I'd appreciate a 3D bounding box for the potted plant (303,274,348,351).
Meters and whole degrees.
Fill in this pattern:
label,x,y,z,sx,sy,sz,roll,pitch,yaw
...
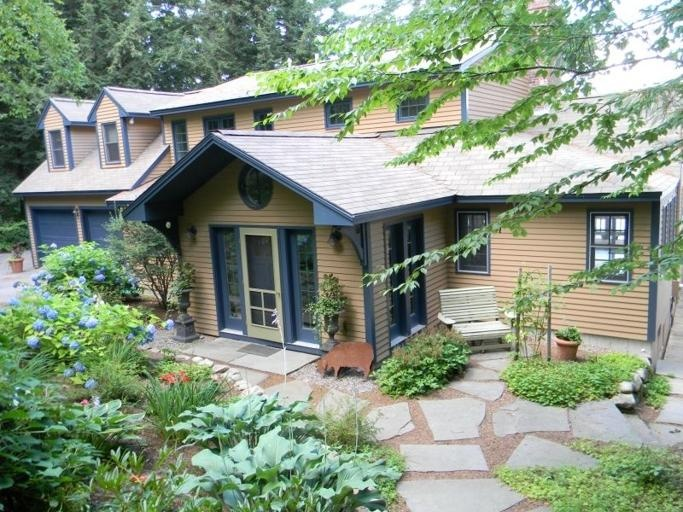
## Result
label,x,y,z,sx,sy,sz,roll,pitch,yaw
potted plant,-0.300,1.056,10.739,0.550,1.458,0.930,-3,4,-34

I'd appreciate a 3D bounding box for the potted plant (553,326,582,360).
label,x,y,z,sx,sy,sz,roll,pitch,yaw
potted plant,4.121,1.644,10.645,0.642,0.584,0.585,-1,0,-5

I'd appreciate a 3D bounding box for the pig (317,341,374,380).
label,x,y,z,sx,sy,sz,roll,pitch,yaw
pig,0.074,1.849,10.193,1.000,0.626,0.481,1,4,15

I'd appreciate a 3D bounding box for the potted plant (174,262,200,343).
label,x,y,z,sx,sy,sz,roll,pitch,yaw
potted plant,-3.434,1.026,12.358,0.658,1.610,0.633,-3,1,-36
